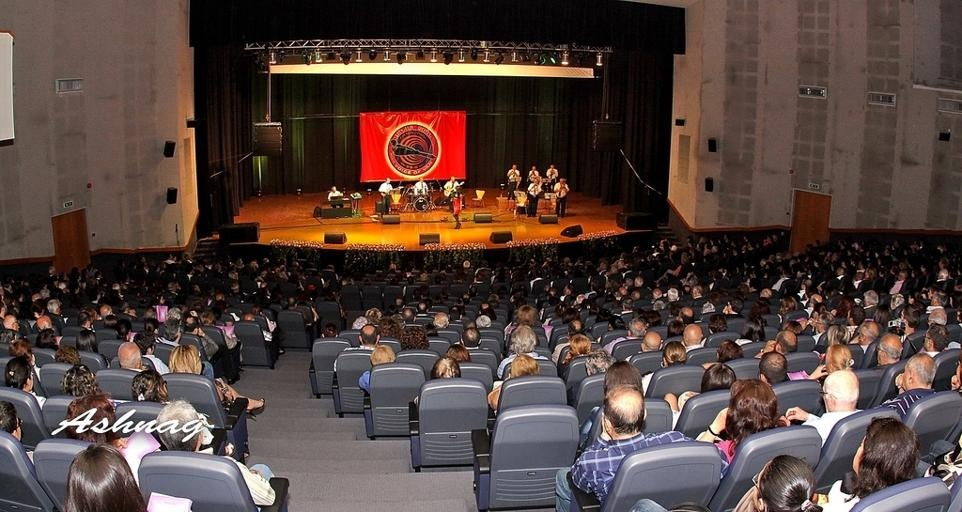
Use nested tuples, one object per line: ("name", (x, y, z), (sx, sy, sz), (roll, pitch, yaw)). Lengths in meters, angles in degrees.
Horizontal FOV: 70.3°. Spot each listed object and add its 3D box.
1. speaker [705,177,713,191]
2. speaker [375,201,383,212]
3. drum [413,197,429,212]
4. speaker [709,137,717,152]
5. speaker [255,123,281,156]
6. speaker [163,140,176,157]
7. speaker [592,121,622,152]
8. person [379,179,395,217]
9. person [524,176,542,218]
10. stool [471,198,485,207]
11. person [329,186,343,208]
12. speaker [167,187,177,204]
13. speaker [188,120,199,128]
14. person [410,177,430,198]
("speaker", (8.929, -2.777, 26.683), (0.390, 0.508, 0.191), (0, 2, 32))
("speaker", (-4.257, -2.053, 28.801), (0.352, 0.426, 0.645), (-1, 5, -14))
("drum", (-2.463, -2.185, 29.221), (0.393, 0.579, 0.727), (0, 1, 44))
("speaker", (8.927, -4.231, 26.223), (0.342, 0.526, 0.301), (0, 1, 19))
("speaker", (-7.867, -4.356, 26.106), (1.241, 1.162, 0.953), (3, 8, 9))
("speaker", (-10.657, -3.672, 23.495), (0.419, 0.532, 0.532), (-1, 1, -16))
("speaker", (5.136, -4.833, 27.341), (0.829, 1.288, 1.449), (0, 1, 44))
("person", (-3.874, -2.436, 28.537), (0.481, 1.529, 2.139), (-1, 1, -7))
("person", (2.252, -2.565, 29.212), (0.579, 1.755, 1.064), (-1, 1, 4))
("stool", (-0.056, -2.470, 31.998), (0.490, 0.602, 0.432), (-2, 6, -28))
("person", (-5.996, -2.461, 28.581), (0.697, 0.915, 1.201), (-1, 1, -8))
("speaker", (-10.708, -2.103, 23.800), (0.368, 0.585, 0.402), (-1, 1, -24))
("speaker", (-10.324, -4.720, 24.646), (0.440, 0.234, 0.428), (-5, 0, -5))
("person", (-2.568, -2.814, 29.375), (0.664, 0.769, 0.810), (-1, 1, -1))
